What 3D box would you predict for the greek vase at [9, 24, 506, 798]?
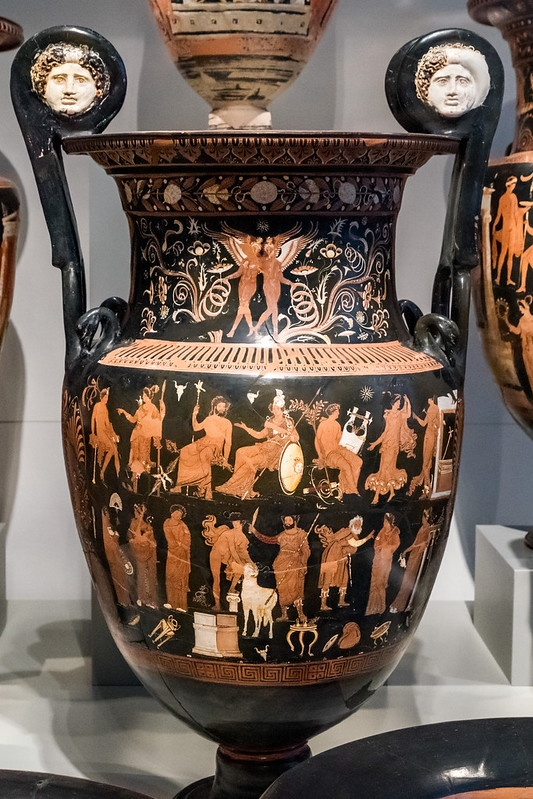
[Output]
[{"bbox_3d":[-0.051,-0.006,1.130,0.579,0.933,0.306,3,12,14],"label":"greek vase"}]
